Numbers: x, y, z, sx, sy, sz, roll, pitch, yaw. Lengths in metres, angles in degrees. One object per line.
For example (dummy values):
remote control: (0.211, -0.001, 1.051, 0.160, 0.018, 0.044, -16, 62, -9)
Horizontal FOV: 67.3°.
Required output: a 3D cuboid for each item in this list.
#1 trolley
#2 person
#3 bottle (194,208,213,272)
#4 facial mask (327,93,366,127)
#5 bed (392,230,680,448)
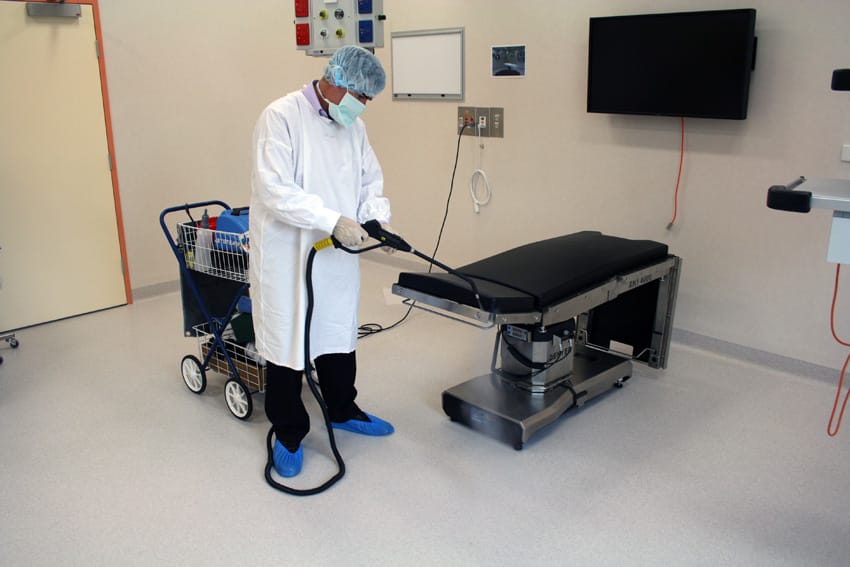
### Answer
trolley: (-1.167, 0.132, 3.960, 0.728, 1.179, 0.618, 9, 15, 15)
person: (-0.532, -0.088, 3.301, 0.726, 2.118, 0.557, -6, 21, -18)
bottle: (-1.298, -0.231, 3.742, 0.144, 0.321, 0.092, 17, 26, 37)
facial mask: (-0.379, -0.835, 3.142, 0.134, 0.114, 0.135, 36, 21, 8)
bed: (0.757, 0.174, 4.089, 1.907, 1.240, 0.986, -20, 28, -40)
